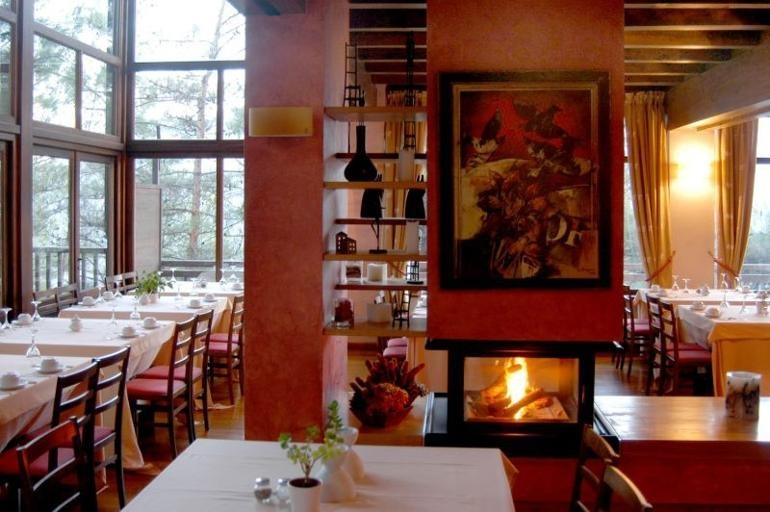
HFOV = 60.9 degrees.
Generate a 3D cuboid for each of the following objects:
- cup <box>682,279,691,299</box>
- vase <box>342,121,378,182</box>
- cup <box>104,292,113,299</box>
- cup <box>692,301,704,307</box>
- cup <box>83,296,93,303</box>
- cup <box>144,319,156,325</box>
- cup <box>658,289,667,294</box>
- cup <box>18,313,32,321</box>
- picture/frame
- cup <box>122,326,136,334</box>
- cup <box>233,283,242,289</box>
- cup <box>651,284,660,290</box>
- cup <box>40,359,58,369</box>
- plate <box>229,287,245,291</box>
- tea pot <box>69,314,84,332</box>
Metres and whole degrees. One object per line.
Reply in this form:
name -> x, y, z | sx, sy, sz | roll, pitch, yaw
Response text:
cup -> 4.145, 0.446, 8.982 | 0.184, 0.284, 0.176 | -3, 9, 0
vase -> -0.192, -0.814, 5.193 | 0.280, 0.423, 0.282 | 5, 13, 28
cup -> -3.293, 0.464, 7.766 | 0.072, 0.043, 0.072 | 2, -2, 0
cup -> 3.591, 0.548, 7.494 | 0.079, 0.054, 0.079 | 0, -1, 0
cup -> -3.413, 0.488, 7.503 | 0.099, 0.070, 0.100 | 1, -2, 0
cup -> -2.321, 0.640, 6.438 | 0.067, 0.041, 0.068 | 0, 1, 0
cup -> 3.646, 0.472, 8.573 | 0.085, 0.065, 0.087 | 1, 0, 0
cup -> -3.644, 0.619, 6.638 | 0.112, 0.074, 0.113 | 1, -3, 0
picture/frame -> 1.096, -0.636, 4.914 | 1.672, 2.131, 0.230 | 0, 3, 2
cup -> -2.422, 0.689, 6.152 | 0.079, 0.059, 0.077 | 0, 0, 0
cup -> -1.974, 0.393, 8.774 | 0.073, 0.052, 0.072 | 1, 2, 0
cup -> 3.747, 0.425, 9.035 | 0.107, 0.093, 0.107 | 1, -2, 0
cup -> -2.675, 0.851, 5.185 | 0.091, 0.058, 0.093 | 3, 1, 0
plate -> -1.956, 0.435, 8.672 | 0.175, 0.043, 0.184 | 1, 2, -1
tea pot -> -3.035, 0.669, 6.445 | 0.139, 0.146, 0.140 | 0, -4, 0
